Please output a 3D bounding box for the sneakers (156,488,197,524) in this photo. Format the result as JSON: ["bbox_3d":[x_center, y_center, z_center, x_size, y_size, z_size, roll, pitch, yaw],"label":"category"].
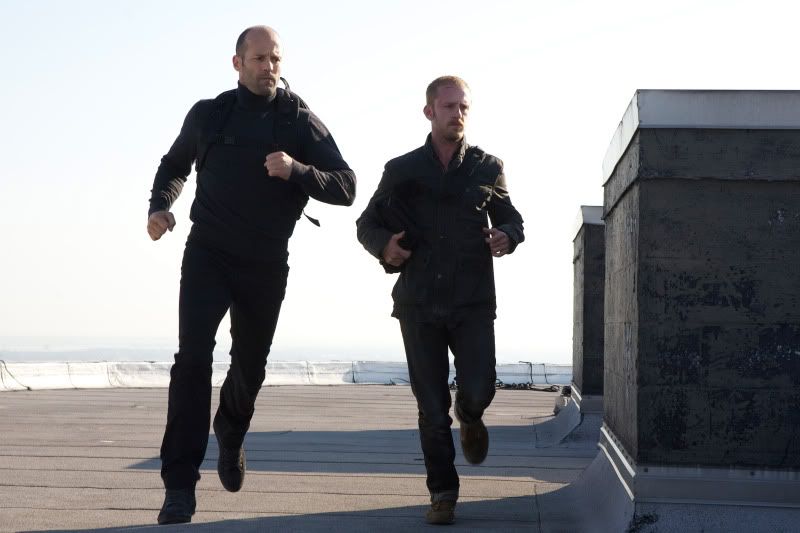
[{"bbox_3d":[-1.014,1.077,3.613,0.151,0.121,0.191,5,-2,-6],"label":"sneakers"}]

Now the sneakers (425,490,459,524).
[{"bbox_3d":[0.195,1.119,3.765,0.133,0.138,0.151,4,-2,6],"label":"sneakers"}]

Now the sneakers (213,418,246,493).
[{"bbox_3d":[-0.888,0.999,4.307,0.142,0.416,0.165,-9,5,-21],"label":"sneakers"}]

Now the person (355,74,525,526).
[{"bbox_3d":[0.194,0.117,3.976,0.782,2.146,0.458,4,-3,3],"label":"person"}]

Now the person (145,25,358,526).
[{"bbox_3d":[-0.860,-0.011,4.035,0.738,1.829,0.634,6,-3,-35],"label":"person"}]

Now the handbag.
[{"bbox_3d":[-0.002,-0.218,4.048,0.292,0.386,0.141,-27,-14,40],"label":"handbag"}]

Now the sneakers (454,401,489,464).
[{"bbox_3d":[0.379,0.864,4.166,0.141,0.384,0.161,-6,14,18],"label":"sneakers"}]
